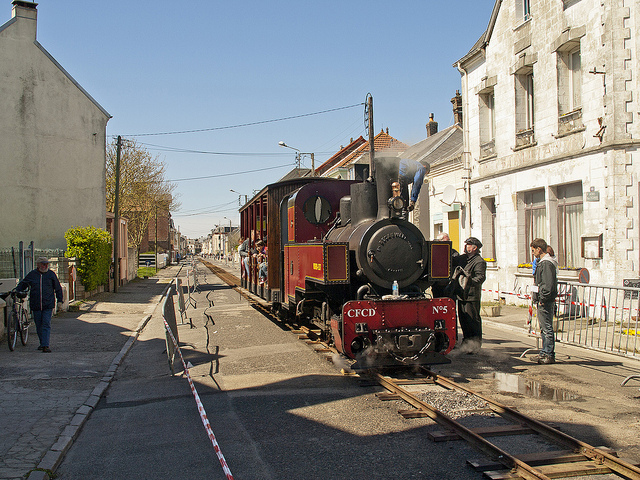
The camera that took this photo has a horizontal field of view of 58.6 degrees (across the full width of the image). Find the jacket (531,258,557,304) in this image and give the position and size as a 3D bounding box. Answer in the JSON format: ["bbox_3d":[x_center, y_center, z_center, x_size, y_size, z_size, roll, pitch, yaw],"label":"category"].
[{"bbox_3d":[4.301,0.709,10.831,0.469,0.880,0.853,-4,9,20],"label":"jacket"}]

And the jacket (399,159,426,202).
[{"bbox_3d":[1.584,-1.096,10.316,0.233,0.695,0.634,5,7,4],"label":"jacket"}]

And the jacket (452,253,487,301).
[{"bbox_3d":[3.010,0.680,11.546,0.490,0.965,0.768,-2,19,-23],"label":"jacket"}]

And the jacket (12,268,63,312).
[{"bbox_3d":[-6.162,1.064,12.452,1.044,0.960,0.431,4,0,-29],"label":"jacket"}]
